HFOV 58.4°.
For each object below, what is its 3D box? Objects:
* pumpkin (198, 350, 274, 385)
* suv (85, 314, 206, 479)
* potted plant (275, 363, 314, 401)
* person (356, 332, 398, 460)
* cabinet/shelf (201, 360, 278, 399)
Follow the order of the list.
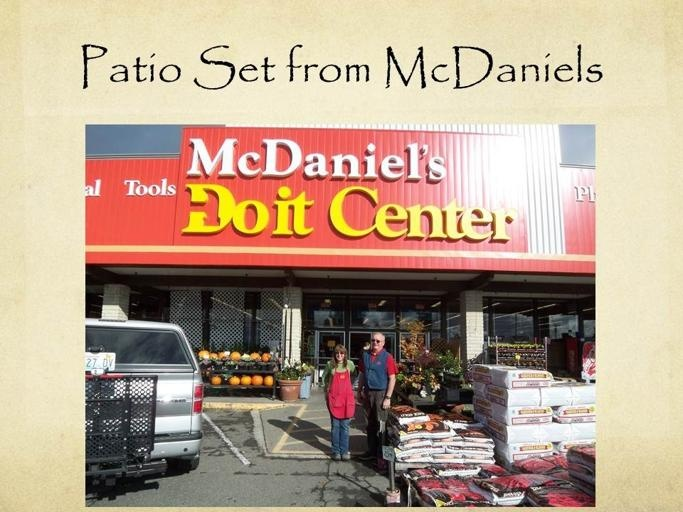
[{"bbox_3d":[-2.985,3.226,17.424,2.023,0.934,1.083,2,-9,-10],"label":"pumpkin"},{"bbox_3d":[-3.109,2.314,9.706,1.724,2.575,1.089,0,-3,-20],"label":"suv"},{"bbox_3d":[-1.329,3.667,17.870,0.604,0.581,1.390,0,-4,13],"label":"potted plant"},{"bbox_3d":[0.629,2.507,11.006,0.794,2.043,0.819,0,-2,3],"label":"person"},{"bbox_3d":[-3.095,3.659,18.169,2.814,1.123,1.443,7,-5,-21],"label":"cabinet/shelf"}]
